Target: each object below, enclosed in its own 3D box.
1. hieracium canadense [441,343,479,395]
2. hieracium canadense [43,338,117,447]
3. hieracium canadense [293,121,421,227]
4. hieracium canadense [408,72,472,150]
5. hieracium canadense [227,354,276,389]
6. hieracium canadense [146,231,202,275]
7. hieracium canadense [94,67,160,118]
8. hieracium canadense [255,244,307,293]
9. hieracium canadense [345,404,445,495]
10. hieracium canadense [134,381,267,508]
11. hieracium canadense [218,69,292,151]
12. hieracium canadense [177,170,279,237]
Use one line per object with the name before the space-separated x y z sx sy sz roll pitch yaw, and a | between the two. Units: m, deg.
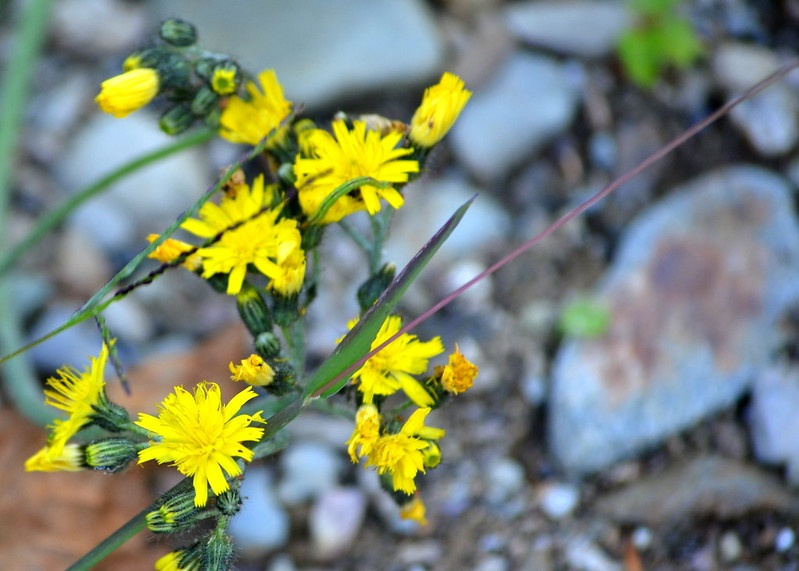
hieracium canadense | 0.142 0.225 2.331 0.090 0.146 0.109 -8 35 -4
hieracium canadense | -0.792 0.278 2.317 0.094 0.227 0.266 25 75 -11
hieracium canadense | -0.116 -0.287 2.250 0.253 0.135 0.265 -29 88 -11
hieracium canadense | 0.093 -0.432 2.323 0.089 0.215 0.114 36 13 12
hieracium canadense | -0.384 0.203 2.332 0.083 0.093 0.054 6 70 29
hieracium canadense | -0.587 -0.079 2.354 0.131 0.097 0.055 2 25 8
hieracium canadense | -0.685 -0.486 2.349 0.167 0.078 0.098 -29 64 -21
hieracium canadense | -0.296 -0.029 2.268 0.053 0.099 0.114 21 69 -21
hieracium canadense | -0.008 0.404 2.254 0.227 0.165 0.154 -8 36 -2
hieracium canadense | -0.457 0.345 2.221 0.287 0.158 0.332 18 25 18
hieracium canadense | -0.369 -0.438 2.348 0.177 0.072 0.186 -36 76 19
hieracium canadense | -0.430 -0.203 2.410 0.208 0.229 0.086 -13 78 -43
